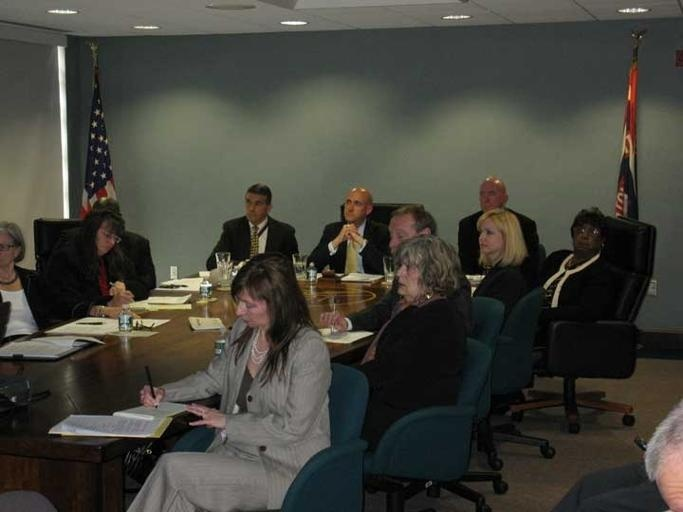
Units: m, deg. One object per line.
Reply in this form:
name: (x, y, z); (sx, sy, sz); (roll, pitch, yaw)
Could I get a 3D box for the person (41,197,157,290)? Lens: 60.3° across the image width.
person: (-1.840, -0.099, 4.676); (0.768, 1.009, 0.717); (0, 3, 25)

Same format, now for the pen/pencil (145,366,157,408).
pen/pencil: (-0.712, 0.495, 2.196); (0.015, 0.146, 0.018); (-22, 1, 27)

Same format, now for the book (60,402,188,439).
book: (-0.735, 0.553, 1.957); (0.419, 0.050, 0.247); (-3, 6, -13)

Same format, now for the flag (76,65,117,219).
flag: (-2.805, -1.307, 6.646); (0.369, 1.711, 0.784); (-4, 8, -21)

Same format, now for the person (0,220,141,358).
person: (-1.632, 0.185, 3.916); (0.846, 1.071, 0.832); (2, -6, -37)

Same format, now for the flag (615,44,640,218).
flag: (2.798, -1.194, 5.681); (0.216, 1.657, 0.487); (2, 8, 25)
